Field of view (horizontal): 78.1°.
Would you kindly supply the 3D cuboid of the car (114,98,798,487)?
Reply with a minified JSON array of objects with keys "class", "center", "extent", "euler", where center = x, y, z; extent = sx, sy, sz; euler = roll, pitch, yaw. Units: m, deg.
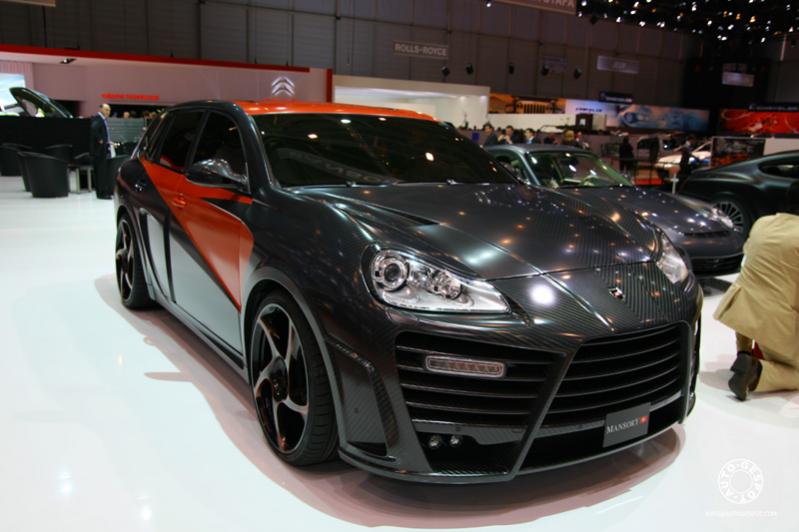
[{"class":"car","center":[-0.588,-0.143,3.284],"extent":[1.906,1.298,3.911],"euler":[-6,13,-33]}]

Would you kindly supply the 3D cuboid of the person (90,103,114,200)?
[{"class":"person","center":[-6.517,-2.508,10.755],"extent":[0.404,2.000,0.712],"euler":[-6,18,-29]}]

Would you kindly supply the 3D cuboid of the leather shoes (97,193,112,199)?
[{"class":"leather shoes","center":[-6.541,-1.548,10.848],"extent":[0.306,0.092,0.120],"euler":[4,0,1]}]

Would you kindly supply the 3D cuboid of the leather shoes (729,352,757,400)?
[{"class":"leather shoes","center":[2.255,0.713,3.282],"extent":[0.158,0.347,0.141],"euler":[7,-3,-16]}]
